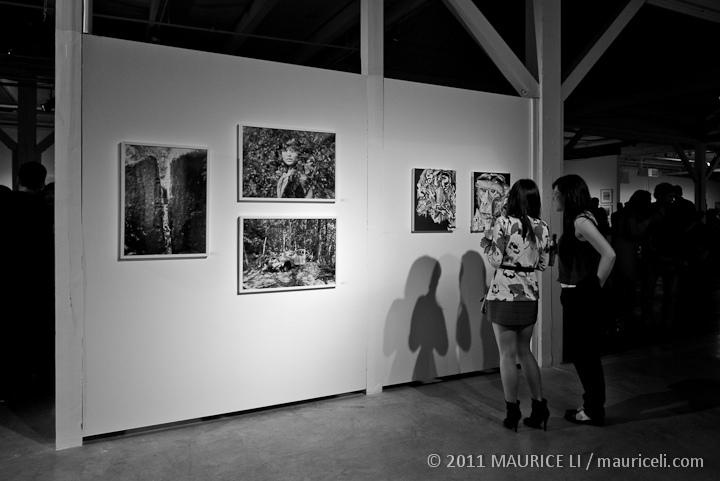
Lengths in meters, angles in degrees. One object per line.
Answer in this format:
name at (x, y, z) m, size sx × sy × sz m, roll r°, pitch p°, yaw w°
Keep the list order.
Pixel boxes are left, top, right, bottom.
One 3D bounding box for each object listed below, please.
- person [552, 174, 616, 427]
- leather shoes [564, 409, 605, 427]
person at (2.458, 0.669, 5.710) m, size 0.675 × 2.732 × 0.340 m, roll 6°, pitch 12°, yaw 33°
leather shoes at (2.532, 1.998, 5.786) m, size 0.326 × 0.116 × 0.187 m, roll 3°, pitch -1°, yaw 22°
